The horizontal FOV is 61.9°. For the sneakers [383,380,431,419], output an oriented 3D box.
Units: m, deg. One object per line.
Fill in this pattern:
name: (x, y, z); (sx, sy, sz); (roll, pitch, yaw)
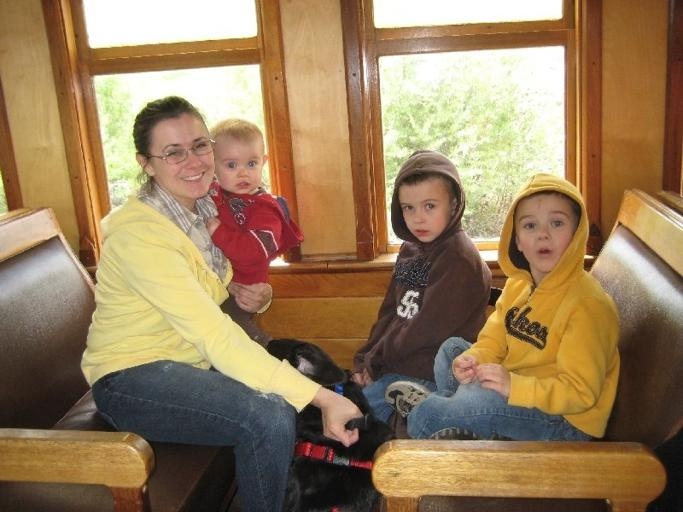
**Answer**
sneakers: (0.229, 0.510, 2.029); (0.189, 0.097, 0.078); (-16, 18, 39)

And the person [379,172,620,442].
person: (0.491, 0.197, 1.785); (0.699, 0.833, 0.569); (2, 4, -15)
